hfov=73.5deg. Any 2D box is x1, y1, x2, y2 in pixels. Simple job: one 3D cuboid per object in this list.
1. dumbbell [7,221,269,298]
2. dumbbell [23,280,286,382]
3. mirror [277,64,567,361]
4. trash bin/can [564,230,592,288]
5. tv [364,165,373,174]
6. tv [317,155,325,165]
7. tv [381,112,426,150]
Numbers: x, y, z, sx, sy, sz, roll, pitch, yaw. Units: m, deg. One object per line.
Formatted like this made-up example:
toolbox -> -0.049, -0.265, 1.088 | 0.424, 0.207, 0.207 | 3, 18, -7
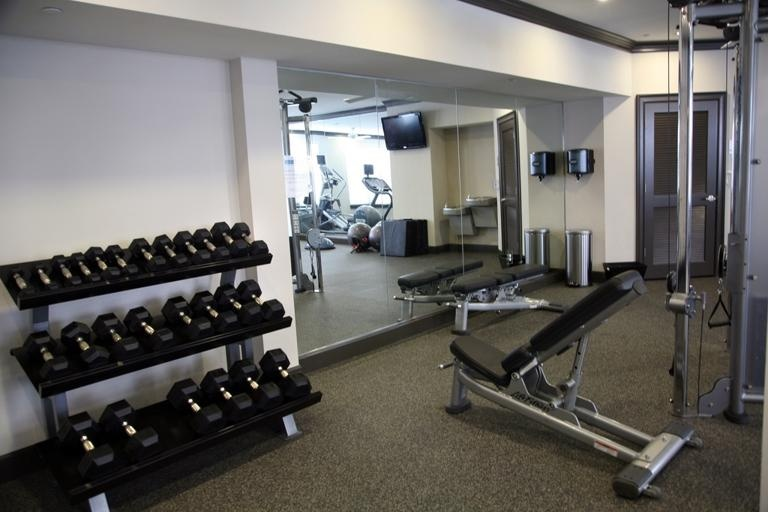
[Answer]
dumbbell -> -1.627, 0.043, 3.418 | 1.671, 0.420, 0.588 | -4, 12, -43
dumbbell -> -1.516, 0.476, 3.416 | 1.556, 0.224, 0.506 | -13, 22, -38
mirror -> 0.291, -0.427, 5.042 | 2.937, 2.039, 0.053 | -6, 7, -43
trash bin/can -> 2.507, 0.030, 6.644 | 0.297, 0.711, 0.208 | -1, 12, 16
tv -> -0.144, -0.823, 4.897 | 0.020, 0.104, 0.112 | 7, 15, 42
tv -> -0.562, -0.862, 4.601 | 0.024, 0.068, 0.105 | 4, 1, 41
tv -> 0.166, -1.230, 5.051 | 0.389, 0.282, 0.050 | -15, 17, -28
